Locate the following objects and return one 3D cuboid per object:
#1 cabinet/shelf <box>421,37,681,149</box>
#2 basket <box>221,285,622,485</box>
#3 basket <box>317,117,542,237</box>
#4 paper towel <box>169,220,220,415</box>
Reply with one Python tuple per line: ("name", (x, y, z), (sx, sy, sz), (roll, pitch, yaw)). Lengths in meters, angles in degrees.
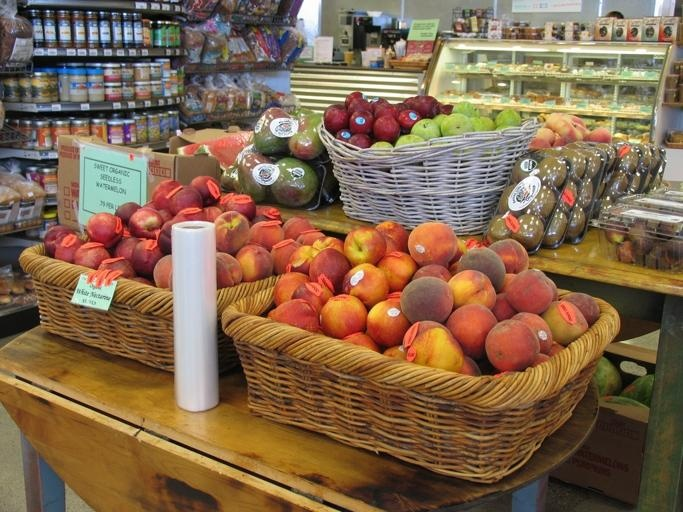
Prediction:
("cabinet/shelf", (1.698, -1.282, 3.687), (1.469, 0.968, 0.535), (11, 23, 26))
("basket", (0.212, 0.167, 1.094), (0.715, 0.304, 0.569), (9, 17, 34))
("basket", (0.405, -0.344, 2.033), (0.810, 0.448, 0.596), (12, 23, 39))
("paper towel", (-0.303, 0.141, 1.004), (0.079, 0.412, 0.044), (-2, 18, -18))
